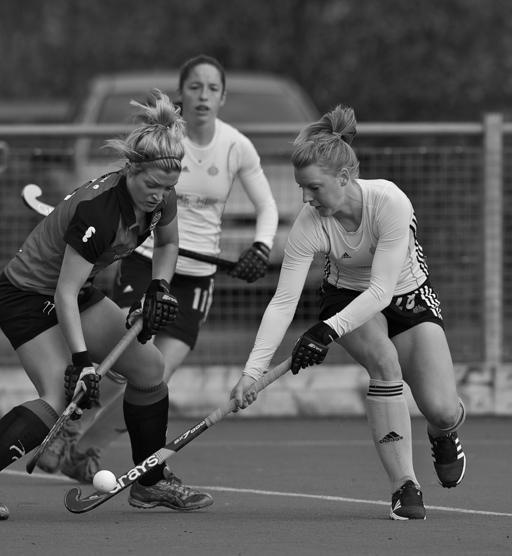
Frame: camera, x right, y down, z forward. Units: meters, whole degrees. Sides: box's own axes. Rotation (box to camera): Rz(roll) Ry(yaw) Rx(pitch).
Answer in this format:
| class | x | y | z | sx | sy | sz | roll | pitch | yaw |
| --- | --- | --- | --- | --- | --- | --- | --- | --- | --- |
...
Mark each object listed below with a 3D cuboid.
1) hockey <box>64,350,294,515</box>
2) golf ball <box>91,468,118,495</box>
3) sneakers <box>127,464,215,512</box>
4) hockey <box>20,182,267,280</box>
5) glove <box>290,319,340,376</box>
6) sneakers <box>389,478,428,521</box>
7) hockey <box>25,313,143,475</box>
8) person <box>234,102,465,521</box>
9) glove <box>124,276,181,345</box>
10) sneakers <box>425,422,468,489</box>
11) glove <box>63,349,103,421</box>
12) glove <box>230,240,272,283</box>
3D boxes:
| class | x | y | z | sx | sy | sz | roll | pitch | yaw |
| --- | --- | --- | --- | --- | --- | --- | --- | --- | --- |
| hockey | -0.349 | 0.696 | 5.327 | 1.181 | 0.087 | 0.194 | -30 | 71 | -32 |
| golf ball | -0.545 | 0.741 | 4.416 | 0.078 | 0.079 | 0.090 | 11 | -16 | 2 |
| sneakers | -0.328 | 0.825 | 4.766 | 0.396 | 0.195 | 0.133 | 3 | 1 | -9 |
| hockey | -0.482 | -0.199 | 4.952 | 1.188 | 0.249 | 0.277 | 16 | -13 | -14 |
| glove | 0.210 | 0.244 | 4.466 | 0.147 | 0.200 | 0.086 | 29 | 20 | -21 |
| sneakers | 0.563 | 0.808 | 4.407 | 0.128 | 0.154 | 0.080 | 7 | 8 | 7 |
| hockey | -0.653 | 0.430 | 4.601 | 0.137 | 0.821 | 0.053 | 23 | -19 | 30 |
| person | 0.423 | 0.102 | 4.604 | 0.880 | 1.462 | 0.606 | 8 | 8 | 11 |
| glove | -0.379 | 0.106 | 4.513 | 0.166 | 0.226 | 0.089 | 26 | 26 | -53 |
| sneakers | 0.760 | 0.702 | 4.800 | 0.095 | 0.287 | 0.112 | -11 | 10 | 16 |
| glove | -0.602 | 0.373 | 4.254 | 0.119 | 0.228 | 0.140 | 7 | 38 | -50 |
| glove | -0.002 | -0.066 | 5.418 | 0.084 | 0.120 | 0.194 | -41 | 25 | -29 |
